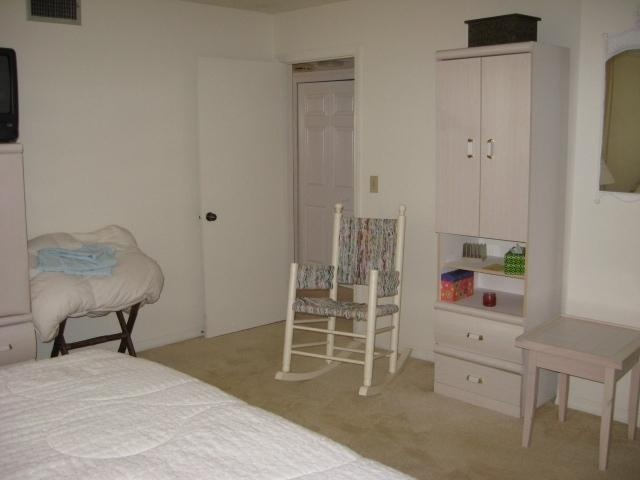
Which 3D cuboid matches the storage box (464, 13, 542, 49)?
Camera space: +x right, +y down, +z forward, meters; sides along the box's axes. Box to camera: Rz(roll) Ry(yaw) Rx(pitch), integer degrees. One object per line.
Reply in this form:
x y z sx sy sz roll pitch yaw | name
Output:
1.162 -1.316 3.236 0.326 0.165 0.329 -3 9 5 | storage box

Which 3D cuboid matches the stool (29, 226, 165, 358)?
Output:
-1.655 0.412 3.780 0.916 0.883 0.815 -11 16 -37 | stool

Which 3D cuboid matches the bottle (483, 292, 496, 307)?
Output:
1.138 0.402 3.422 0.086 0.091 0.089 2 -2 -24 | bottle

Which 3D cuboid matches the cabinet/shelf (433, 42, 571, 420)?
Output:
1.169 -0.064 3.418 0.889 2.332 0.629 6 15 26 | cabinet/shelf
